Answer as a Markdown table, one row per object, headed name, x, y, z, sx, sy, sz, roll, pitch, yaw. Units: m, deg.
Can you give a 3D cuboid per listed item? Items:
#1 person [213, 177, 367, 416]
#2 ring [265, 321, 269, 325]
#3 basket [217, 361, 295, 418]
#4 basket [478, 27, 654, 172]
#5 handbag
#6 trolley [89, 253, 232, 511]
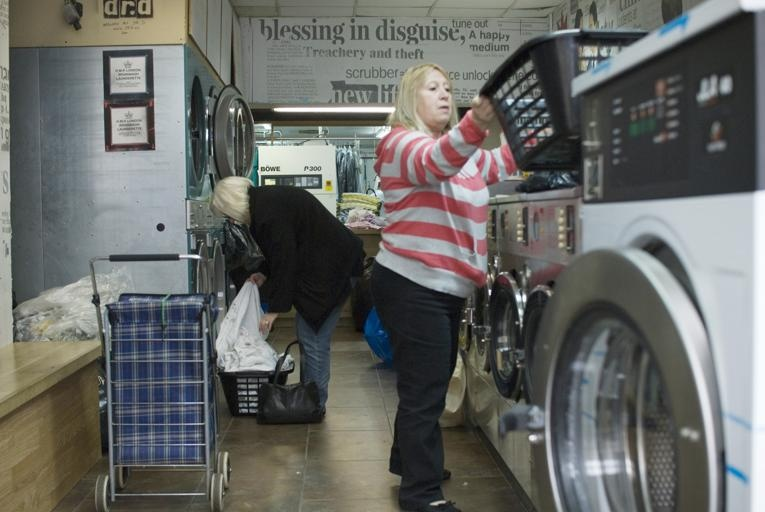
| name | x | y | z | sx | sy | sz | roll | pitch | yaw |
| --- | --- | --- | --- | --- | --- | --- | --- | --- | --- |
| person | -0.512 | 0.236 | 3.703 | 0.832 | 1.393 | 0.358 | -2 | 6 | -13 |
| ring | -0.679 | 0.383 | 3.755 | 0.025 | 0.026 | 0.014 | 2 | 6 | 5 |
| basket | -0.811 | 0.786 | 3.839 | 0.334 | 0.218 | 0.290 | 0 | -1 | -6 |
| basket | 0.487 | -0.467 | 1.925 | 0.352 | 0.261 | 0.481 | -1 | -9 | -9 |
| handbag | -0.532 | 0.740 | 3.692 | 0.405 | 0.525 | 0.184 | 0 | -12 | -1 |
| trolley | -0.991 | 0.535 | 2.832 | 0.561 | 1.103 | 0.520 | -2 | 6 | -8 |
